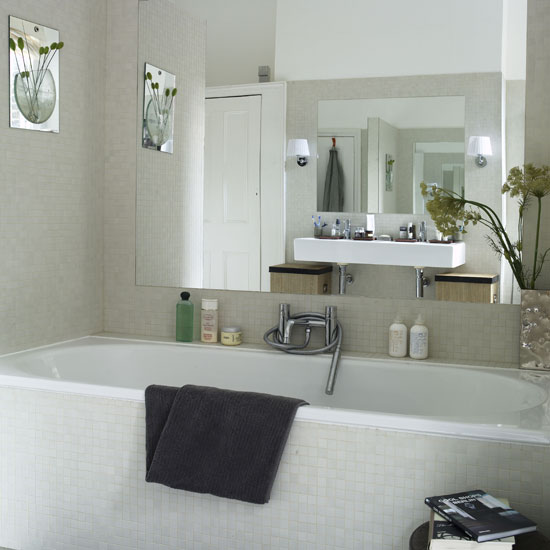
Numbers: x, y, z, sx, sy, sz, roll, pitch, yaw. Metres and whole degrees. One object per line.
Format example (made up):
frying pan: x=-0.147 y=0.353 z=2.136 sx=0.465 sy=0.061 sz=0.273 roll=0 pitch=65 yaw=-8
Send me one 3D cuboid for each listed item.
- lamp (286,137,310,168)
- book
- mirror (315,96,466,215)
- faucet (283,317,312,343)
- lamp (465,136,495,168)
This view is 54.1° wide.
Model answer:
lamp: x=0.106 y=-0.543 z=2.422 sx=0.096 sy=0.132 sz=0.110 roll=-1 pitch=-6 yaw=21
book: x=0.478 y=0.567 z=1.277 sx=0.206 sy=0.044 sz=0.217 roll=0 pitch=7 yaw=-22
mirror: x=0.504 y=-0.494 z=2.227 sx=0.441 sy=0.434 sz=0.022 roll=1 pitch=1 yaw=29
faucet: x=0.097 y=0.240 z=2.363 sx=0.095 sy=0.111 sz=0.035 roll=1 pitch=-9 yaw=8
lamp: x=0.809 y=-0.498 z=2.136 sx=0.095 sy=0.153 sz=0.106 roll=-3 pitch=-9 yaw=21
